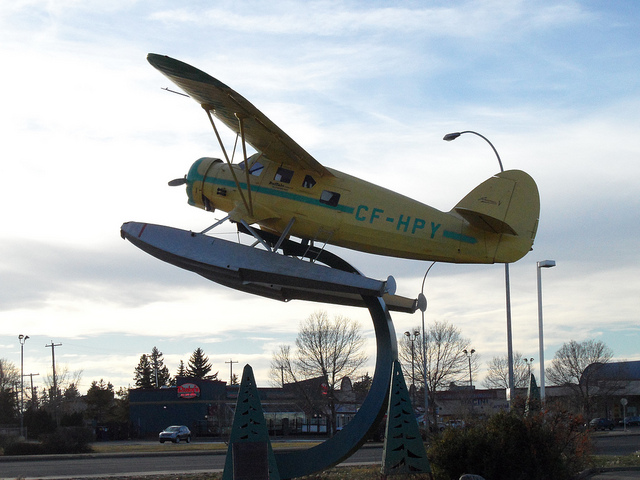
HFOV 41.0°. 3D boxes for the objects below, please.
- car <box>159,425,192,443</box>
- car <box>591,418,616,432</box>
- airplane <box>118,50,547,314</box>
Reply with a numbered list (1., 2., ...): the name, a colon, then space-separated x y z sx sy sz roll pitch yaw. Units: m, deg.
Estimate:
1. car: -11.076 15.028 66.460 1.402 0.786 2.096 -8 -17 28
2. car: 23.717 15.647 72.925 1.498 0.882 3.368 -5 -9 21
3. airplane: 0.594 -1.090 35.282 14.387 4.785 14.293 10 -10 13
